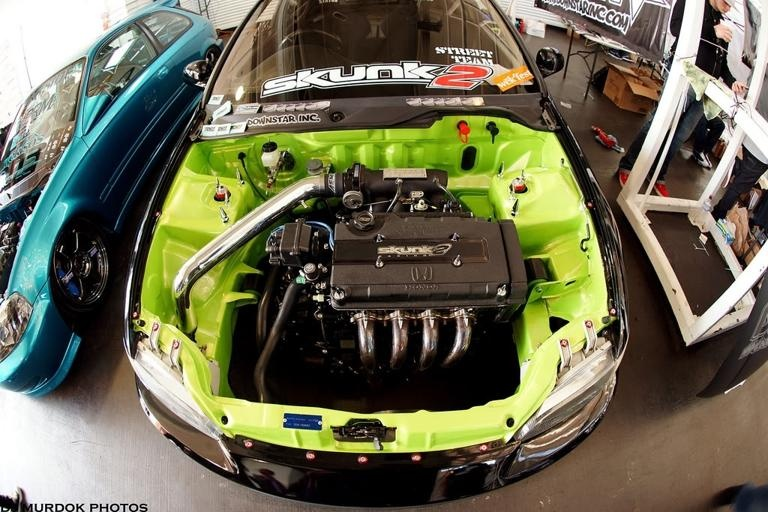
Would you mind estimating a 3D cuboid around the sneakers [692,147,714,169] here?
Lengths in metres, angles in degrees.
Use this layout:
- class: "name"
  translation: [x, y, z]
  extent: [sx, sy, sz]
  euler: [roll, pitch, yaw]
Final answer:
- class: "sneakers"
  translation: [3.472, -1.090, 5.680]
  extent: [0.114, 0.094, 0.310]
  euler: [20, 41, -55]

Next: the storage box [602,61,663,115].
- class: "storage box"
  translation: [2.999, -1.979, 6.409]
  extent: [0.644, 0.453, 0.665]
  euler: [25, 54, 23]

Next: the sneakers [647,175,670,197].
- class: "sneakers"
  translation: [2.866, -0.712, 5.399]
  extent: [0.100, 0.114, 0.307]
  euler: [-2, 56, 2]
